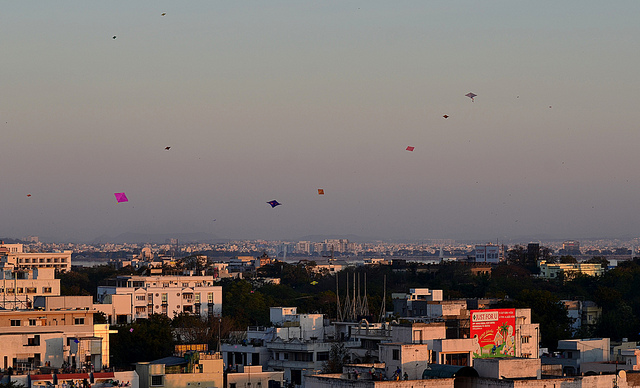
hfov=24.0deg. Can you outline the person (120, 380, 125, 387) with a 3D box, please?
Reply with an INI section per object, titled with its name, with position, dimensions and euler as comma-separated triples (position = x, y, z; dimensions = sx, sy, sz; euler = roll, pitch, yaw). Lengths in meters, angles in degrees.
[person]
position = -19.199, 18.283, 146.652
dimensions = 0.380, 0.423, 1.487
euler = -3, -4, -8
